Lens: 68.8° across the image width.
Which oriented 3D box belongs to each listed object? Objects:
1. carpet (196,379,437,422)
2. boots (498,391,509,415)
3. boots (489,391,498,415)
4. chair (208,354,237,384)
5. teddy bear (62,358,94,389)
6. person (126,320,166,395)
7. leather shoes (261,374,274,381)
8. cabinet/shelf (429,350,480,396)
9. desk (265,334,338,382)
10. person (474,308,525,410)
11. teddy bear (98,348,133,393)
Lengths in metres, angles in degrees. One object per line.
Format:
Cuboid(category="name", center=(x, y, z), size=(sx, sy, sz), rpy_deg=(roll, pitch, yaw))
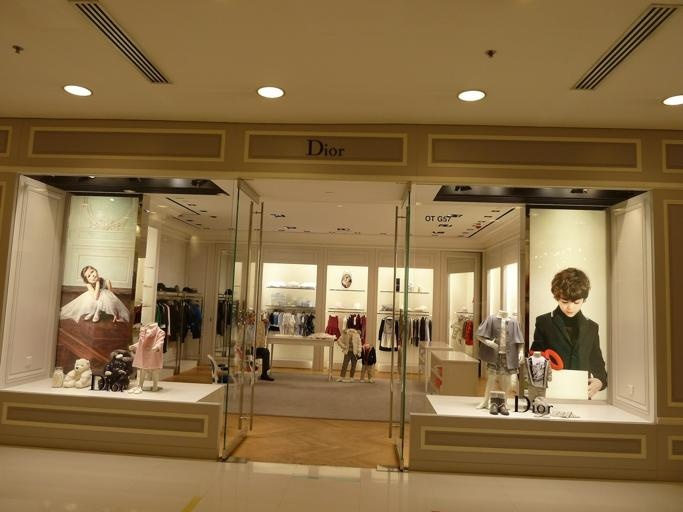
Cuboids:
Cuboid(category="carpet", center=(-0.283, 2.183, 7.755), size=(2.151, 0.069, 2.538), rpy_deg=(2, -3, -1))
Cuboid(category="boots", center=(1.633, 1.439, 4.937), size=(0.087, 0.197, 0.213), rpy_deg=(0, -4, 30))
Cuboid(category="boots", center=(1.493, 1.428, 4.881), size=(0.099, 0.206, 0.097), rpy_deg=(0, -4, 31))
Cuboid(category="chair", center=(-1.240, 1.177, 5.104), size=(0.263, 0.279, 0.298), rpy_deg=(2, -3, -1))
Cuboid(category="teddy bear", center=(-2.806, 1.241, 5.317), size=(0.246, 0.331, 0.330), rpy_deg=(-2, -17, 2))
Cuboid(category="person", center=(-2.122, 1.074, 5.397), size=(0.349, 0.701, 0.525), rpy_deg=(3, -4, -23))
Cuboid(category="leather shoes", center=(-1.369, 2.216, 9.154), size=(0.260, 0.179, 0.094), rpy_deg=(0, -5, -7))
Cuboid(category="cabinet/shelf", center=(1.458, 1.646, 7.312), size=(0.415, 0.675, 1.119), rpy_deg=(12, -16, -29))
Cuboid(category="desk", center=(-0.792, 1.998, 9.882), size=(1.344, 0.798, 0.656), rpy_deg=(3, -3, 1))
Cuboid(category="person", center=(1.641, 1.064, 5.136), size=(0.445, 0.968, 0.291), rpy_deg=(1, -4, 19))
Cuboid(category="teddy bear", center=(-2.373, 1.216, 5.269), size=(0.301, 0.396, 0.403), rpy_deg=(10, -21, -8))
